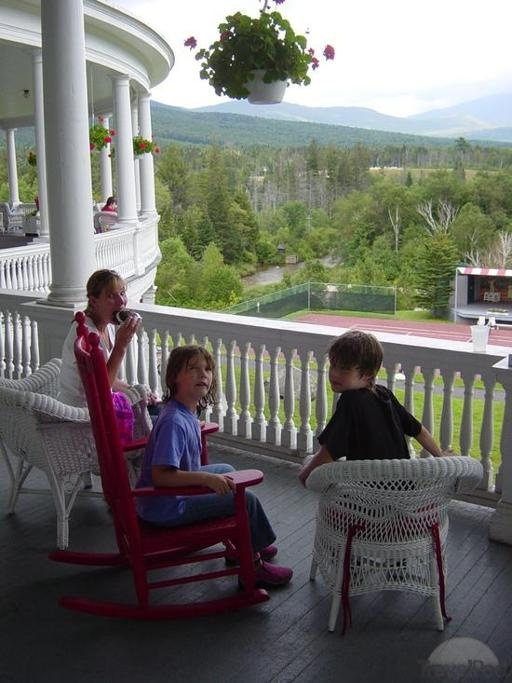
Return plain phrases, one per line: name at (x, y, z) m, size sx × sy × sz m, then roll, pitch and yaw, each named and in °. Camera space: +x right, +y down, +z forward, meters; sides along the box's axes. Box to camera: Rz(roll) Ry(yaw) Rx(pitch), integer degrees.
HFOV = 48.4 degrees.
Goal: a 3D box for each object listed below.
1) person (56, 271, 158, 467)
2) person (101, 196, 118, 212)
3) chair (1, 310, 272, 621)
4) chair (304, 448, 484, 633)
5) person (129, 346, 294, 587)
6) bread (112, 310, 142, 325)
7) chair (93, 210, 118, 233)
person at (-0.760, 0.047, 2.943) m, size 0.476 × 0.763 × 0.383 m, roll 6°, pitch 7°, yaw -13°
person at (-3.729, -3.502, 14.494) m, size 0.352 × 0.517 × 1.382 m, roll -3°, pitch 7°, yaw -15°
chair at (-0.433, 0.446, 2.622) m, size 1.118 × 1.518 × 0.910 m, roll -3°, pitch 9°, yaw -17°
chair at (0.469, 0.658, 2.085) m, size 0.586 × 0.648 × 0.650 m, roll -1°, pitch 5°, yaw -17°
person at (-0.149, 0.455, 2.202) m, size 0.580 × 0.848 × 0.424 m, roll 0°, pitch 4°, yaw 1°
bread at (-0.622, -0.125, 2.775) m, size 0.122 × 0.053 × 0.086 m, roll -3°, pitch 6°, yaw -32°
chair at (-3.674, -2.920, 13.808) m, size 0.811 × 0.481 × 0.305 m, roll 5°, pitch 9°, yaw 42°
